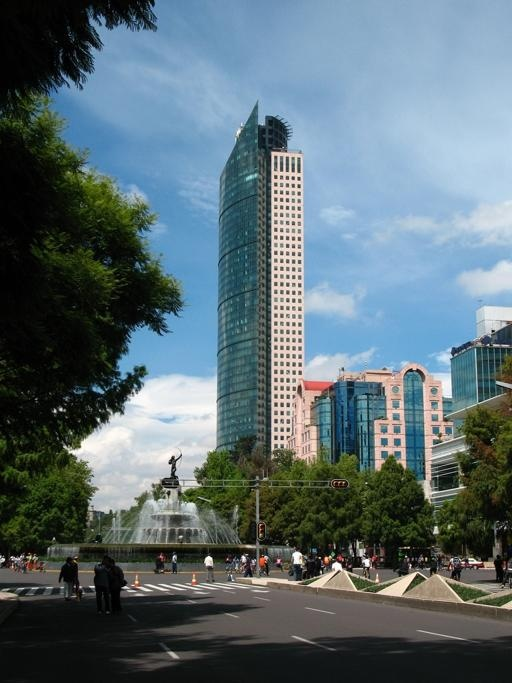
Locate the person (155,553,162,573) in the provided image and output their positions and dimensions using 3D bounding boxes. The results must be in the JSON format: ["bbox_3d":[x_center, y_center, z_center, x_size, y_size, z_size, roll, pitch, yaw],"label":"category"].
[{"bbox_3d":[-6.567,15.151,55.211,0.498,1.164,1.274,2,-13,-7],"label":"person"}]
